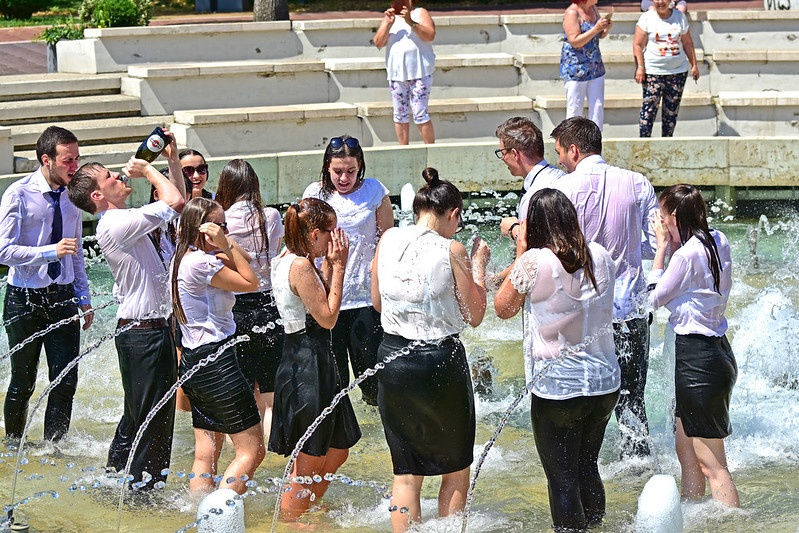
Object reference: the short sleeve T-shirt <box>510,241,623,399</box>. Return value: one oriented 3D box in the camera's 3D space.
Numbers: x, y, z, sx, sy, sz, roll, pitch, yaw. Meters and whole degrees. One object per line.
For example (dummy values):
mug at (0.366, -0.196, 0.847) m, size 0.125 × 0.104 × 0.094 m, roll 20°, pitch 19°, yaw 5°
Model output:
short sleeve T-shirt at (1.312, 0.383, 8.442) m, size 1.039 × 1.316 × 0.680 m, roll -5°, pitch 7°, yaw -6°

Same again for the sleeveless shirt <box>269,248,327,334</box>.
sleeveless shirt at (-0.882, 0.207, 8.831) m, size 0.336 × 0.670 × 0.123 m, roll 3°, pitch 7°, yaw 35°

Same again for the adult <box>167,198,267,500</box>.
adult at (-1.517, 0.659, 8.973) m, size 0.730 × 2.438 × 0.453 m, roll 2°, pitch 6°, yaw 28°

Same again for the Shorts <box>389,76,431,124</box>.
Shorts at (0.143, -2.167, 14.151) m, size 0.576 × 0.783 × 0.307 m, roll 6°, pitch 46°, yaw 15°

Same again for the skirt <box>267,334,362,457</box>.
skirt at (-0.665, 1.087, 9.045) m, size 0.786 × 1.197 × 0.999 m, roll -2°, pitch 2°, yaw -10°

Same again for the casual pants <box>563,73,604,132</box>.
casual pants at (2.437, -2.137, 14.216) m, size 0.458 × 1.101 × 0.346 m, roll -8°, pitch 25°, yaw -7°

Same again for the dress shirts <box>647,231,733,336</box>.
dress shirts at (2.362, 0.147, 8.897) m, size 0.641 × 0.841 × 0.241 m, roll 0°, pitch 6°, yaw 11°

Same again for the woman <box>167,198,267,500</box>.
woman at (-1.517, 0.659, 8.973) m, size 0.730 × 2.438 × 0.454 m, roll 2°, pitch 6°, yaw 28°

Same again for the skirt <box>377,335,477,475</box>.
skirt at (0.214, 1.036, 8.746) m, size 0.773 × 1.257 × 0.618 m, roll 0°, pitch 23°, yaw 8°

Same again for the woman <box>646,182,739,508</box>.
woman at (2.431, 0.860, 9.223) m, size 0.795 × 3.074 × 0.836 m, roll -8°, pitch 12°, yaw -29°

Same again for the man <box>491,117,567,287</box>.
man at (1.245, -0.533, 9.622) m, size 0.436 × 1.501 × 0.501 m, roll 10°, pitch 3°, yaw -21°
